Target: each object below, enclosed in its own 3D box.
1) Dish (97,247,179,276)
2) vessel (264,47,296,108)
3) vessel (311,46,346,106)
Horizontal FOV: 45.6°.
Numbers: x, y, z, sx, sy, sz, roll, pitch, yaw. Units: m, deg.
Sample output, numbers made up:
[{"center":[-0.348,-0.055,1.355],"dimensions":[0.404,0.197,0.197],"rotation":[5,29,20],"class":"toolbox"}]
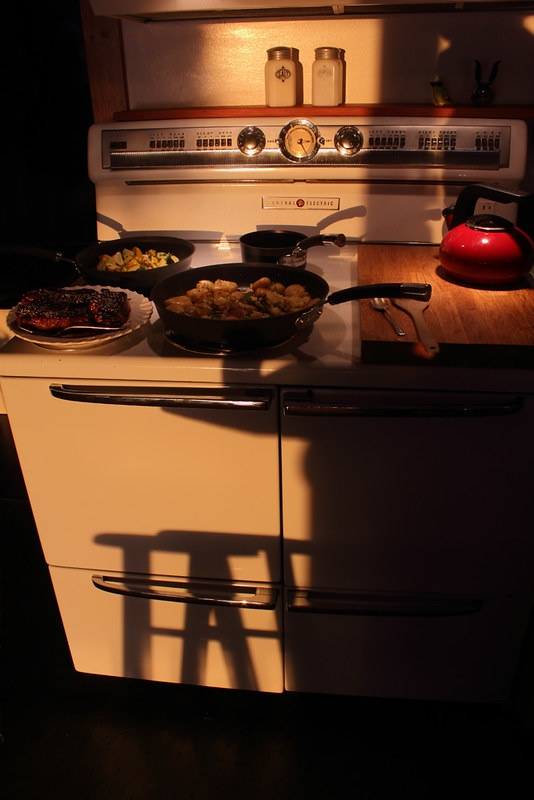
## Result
[{"center":[-0.258,-0.275,1.251],"dimensions":[0.104,0.024,0.105],"rotation":[-2,23,-7],"class":"Dish"},{"center":[0.029,-0.738,1.448],"dimensions":[0.074,0.119,0.111],"rotation":[0,29,2],"class":"vessel"},{"center":[0.142,-0.742,1.451],"dimensions":[0.074,0.116,0.157],"rotation":[2,29,7],"class":"vessel"}]
